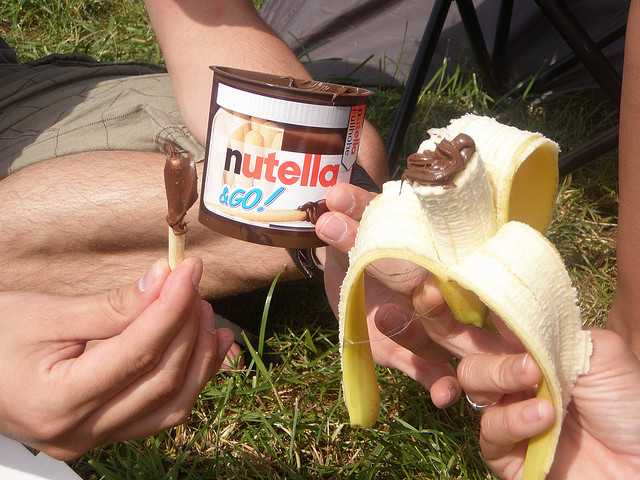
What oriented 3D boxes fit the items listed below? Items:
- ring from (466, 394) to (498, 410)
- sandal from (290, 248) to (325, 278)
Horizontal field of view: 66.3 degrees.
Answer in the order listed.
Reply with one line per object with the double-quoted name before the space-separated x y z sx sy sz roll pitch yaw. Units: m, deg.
"ring" 0.398 0.412 1.236 0.045 0.020 0.039 0 -4 0
"sandal" -0.039 0.072 1.613 0.050 0.149 0.053 -10 38 27
